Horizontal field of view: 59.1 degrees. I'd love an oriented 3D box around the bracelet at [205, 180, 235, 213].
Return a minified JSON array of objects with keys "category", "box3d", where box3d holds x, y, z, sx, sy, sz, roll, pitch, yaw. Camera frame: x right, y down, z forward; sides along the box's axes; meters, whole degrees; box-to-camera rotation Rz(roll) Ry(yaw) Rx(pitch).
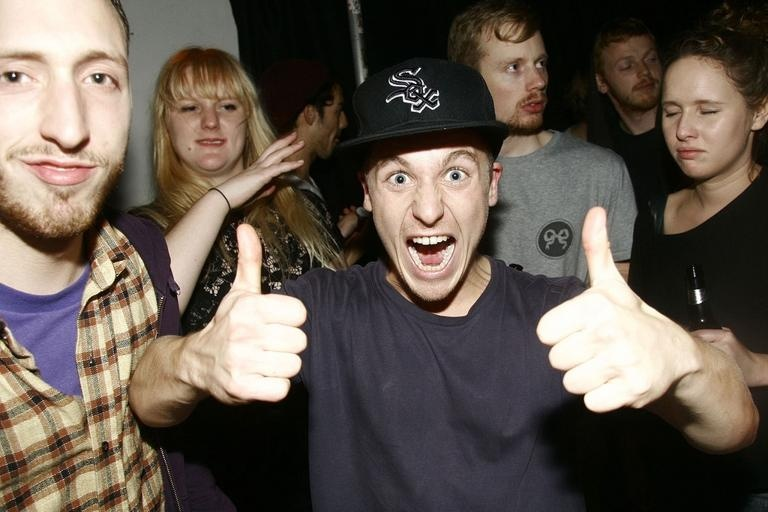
[{"category":"bracelet","box3d":[-0.852,-0.316,3.552,0.035,0.135,0.121,-53,2,-13]}]
